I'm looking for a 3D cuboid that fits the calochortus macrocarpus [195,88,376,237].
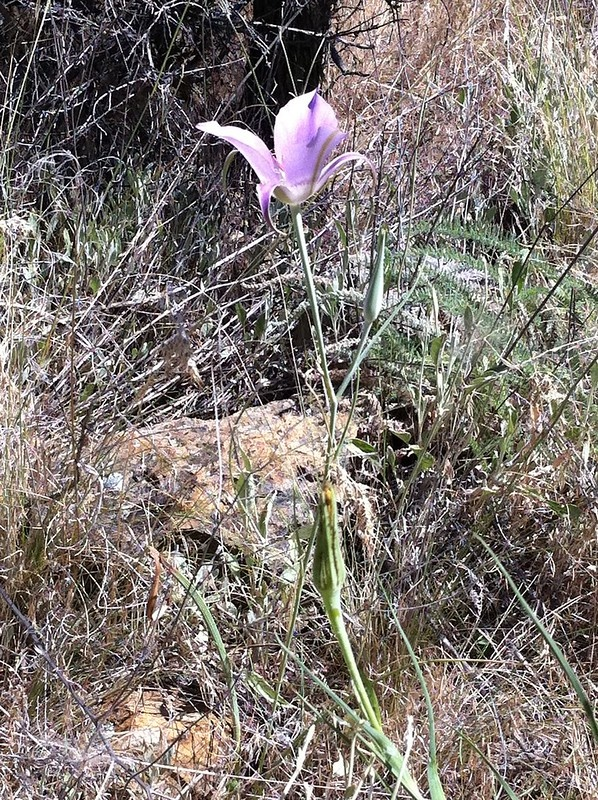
[{"bbox_3d":[0.008,-0.213,0.713,0.138,0.140,0.084,7,83,-48],"label":"calochortus macrocarpus"}]
